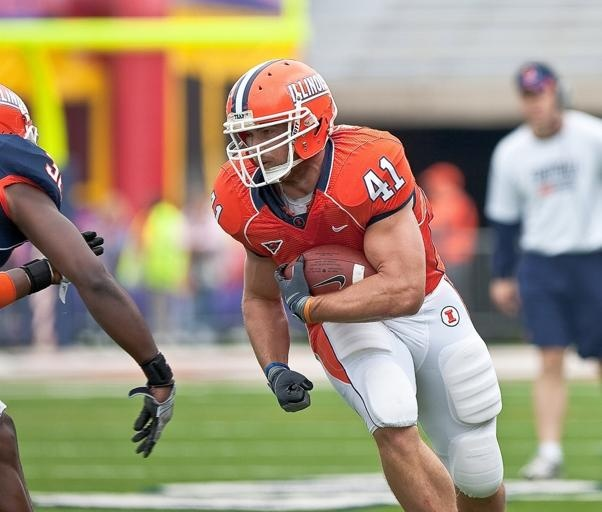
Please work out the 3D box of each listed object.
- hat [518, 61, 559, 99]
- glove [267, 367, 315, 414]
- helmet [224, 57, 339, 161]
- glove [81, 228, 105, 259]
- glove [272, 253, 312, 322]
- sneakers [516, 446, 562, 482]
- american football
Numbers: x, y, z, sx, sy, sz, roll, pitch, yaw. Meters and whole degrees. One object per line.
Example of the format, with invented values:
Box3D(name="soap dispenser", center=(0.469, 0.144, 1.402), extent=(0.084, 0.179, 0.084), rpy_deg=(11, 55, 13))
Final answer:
Box3D(name="hat", center=(1.232, -0.924, 5.332), extent=(0.219, 0.181, 0.114), rpy_deg=(0, 3, 10))
Box3D(name="glove", center=(-0.041, 0.505, 3.947), extent=(0.084, 0.157, 0.175), rpy_deg=(-35, 42, -15))
Box3D(name="helmet", center=(-0.052, -0.566, 3.993), extent=(0.442, 0.327, 0.351), rpy_deg=(-17, -2, -45))
Box3D(name="glove", center=(-0.825, -0.049, 4.066), extent=(0.103, 0.104, 0.033), rpy_deg=(0, -31, -32))
Box3D(name="glove", center=(-0.017, 0.116, 3.893), extent=(0.100, 0.221, 0.173), rpy_deg=(-6, 4, 14))
Box3D(name="sneakers", center=(1.254, 1.043, 5.265), extent=(0.274, 0.119, 0.103), rpy_deg=(-23, 13, -28))
Box3D(name="american football", center=(0.118, 0.063, 3.830), extent=(0.305, 0.163, 0.149), rpy_deg=(-2, 6, 2))
